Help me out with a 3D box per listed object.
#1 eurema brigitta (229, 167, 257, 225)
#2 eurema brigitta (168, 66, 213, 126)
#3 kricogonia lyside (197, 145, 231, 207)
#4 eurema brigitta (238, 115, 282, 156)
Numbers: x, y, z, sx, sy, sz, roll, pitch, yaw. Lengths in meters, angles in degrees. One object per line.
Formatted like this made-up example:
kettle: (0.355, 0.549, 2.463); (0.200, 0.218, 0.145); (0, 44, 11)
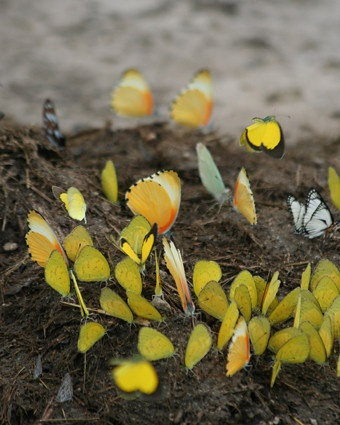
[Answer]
eurema brigitta: (0.476, -0.098, 3.061); (0.257, 0.358, 0.197); (-12, 28, -11)
eurema brigitta: (0.196, -0.995, 4.275); (0.352, 0.713, 0.424); (5, 38, 0)
kricogonia lyside: (0.305, -0.265, 3.501); (0.280, 0.443, 0.236); (-17, 34, -17)
eurema brigitta: (0.586, -0.479, 2.989); (0.274, 0.272, 0.095); (12, 39, 8)
